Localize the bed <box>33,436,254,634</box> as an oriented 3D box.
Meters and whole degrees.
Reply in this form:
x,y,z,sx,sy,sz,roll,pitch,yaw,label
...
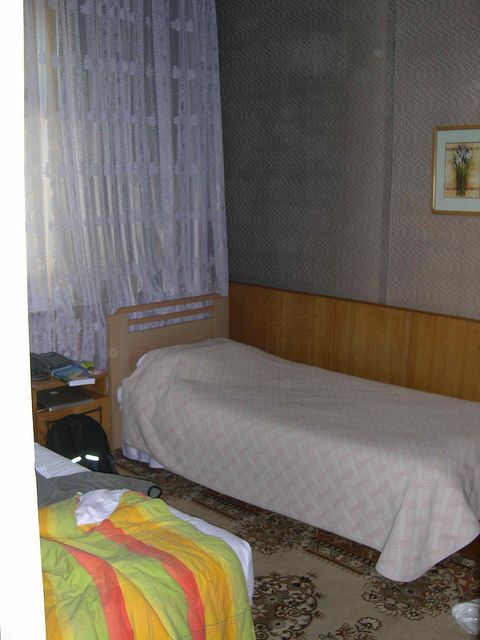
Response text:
x,y,z,sx,sy,sz,roll,pitch,yaw,label
-0.401,0.895,2.032,0.761,0.425,1.078,-3,11,-22,bed

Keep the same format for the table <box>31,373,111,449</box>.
x,y,z,sx,sy,sz,roll,pitch,yaw,label
-1.239,0.695,3.746,0.537,0.479,0.294,-13,-8,-17,table

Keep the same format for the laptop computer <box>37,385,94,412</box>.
x,y,z,sx,sy,sz,roll,pitch,yaw,label
-1.320,0.582,3.711,0.229,0.033,0.245,-7,16,-35,laptop computer

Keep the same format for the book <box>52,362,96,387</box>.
x,y,z,sx,sy,sz,roll,pitch,yaw,label
-1.197,0.401,3.604,0.161,0.037,0.226,-8,32,-40,book

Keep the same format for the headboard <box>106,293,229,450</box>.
x,y,z,sx,sy,sz,roll,pitch,yaw,label
-0.613,0.430,3.906,0.048,1.097,1.163,12,17,41,headboard

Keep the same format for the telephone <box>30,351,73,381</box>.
x,y,z,sx,sy,sz,roll,pitch,yaw,label
-1.351,0.339,3.562,0.303,0.114,0.362,10,12,28,telephone

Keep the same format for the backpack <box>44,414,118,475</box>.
x,y,z,sx,sy,sz,roll,pitch,yaw,label
-1.054,0.842,3.365,0.578,0.283,0.338,9,12,38,backpack
